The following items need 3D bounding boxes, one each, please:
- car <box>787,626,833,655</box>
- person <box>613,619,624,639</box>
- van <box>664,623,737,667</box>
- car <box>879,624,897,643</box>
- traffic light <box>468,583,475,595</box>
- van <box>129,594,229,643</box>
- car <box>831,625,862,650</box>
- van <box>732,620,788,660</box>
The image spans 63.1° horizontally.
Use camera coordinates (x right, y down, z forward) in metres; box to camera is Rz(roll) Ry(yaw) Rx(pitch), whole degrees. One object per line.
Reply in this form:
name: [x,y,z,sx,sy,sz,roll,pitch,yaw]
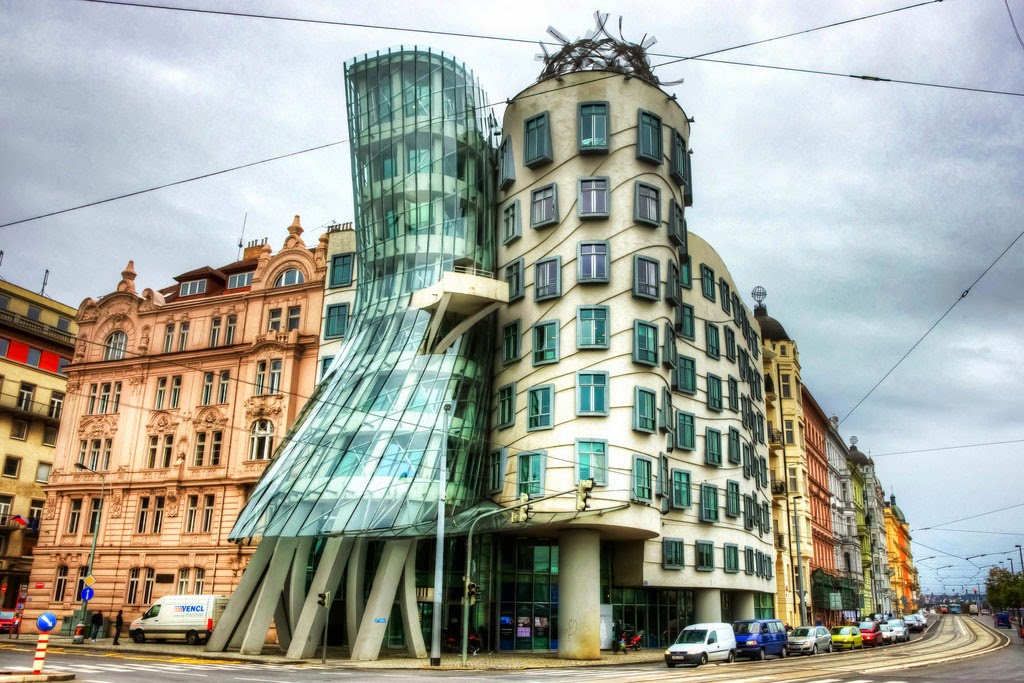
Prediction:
car: [20.476,20.390,57.618,1.488,2.106,3.743,-21,-32,40]
person: [7.211,19.430,56.767,0.620,1.305,1.620,-2,-24,7]
van: [10.857,17.381,48.441,1.563,2.579,5.821,-19,-31,37]
car: [32.337,24.589,71.479,1.548,1.127,2.372,-1,11,20]
traffic light: [-2.228,13.257,45.091,0.444,0.653,0.463,2,-24,-3]
van: [-23.159,19.063,58.266,6.791,2.942,3.289,-3,-18,14]
car: [25.251,22.127,62.934,1.631,1.172,2.567,-16,-34,31]
van: [16.003,19.227,54.176,2.402,1.779,3.530,-22,-40,34]
